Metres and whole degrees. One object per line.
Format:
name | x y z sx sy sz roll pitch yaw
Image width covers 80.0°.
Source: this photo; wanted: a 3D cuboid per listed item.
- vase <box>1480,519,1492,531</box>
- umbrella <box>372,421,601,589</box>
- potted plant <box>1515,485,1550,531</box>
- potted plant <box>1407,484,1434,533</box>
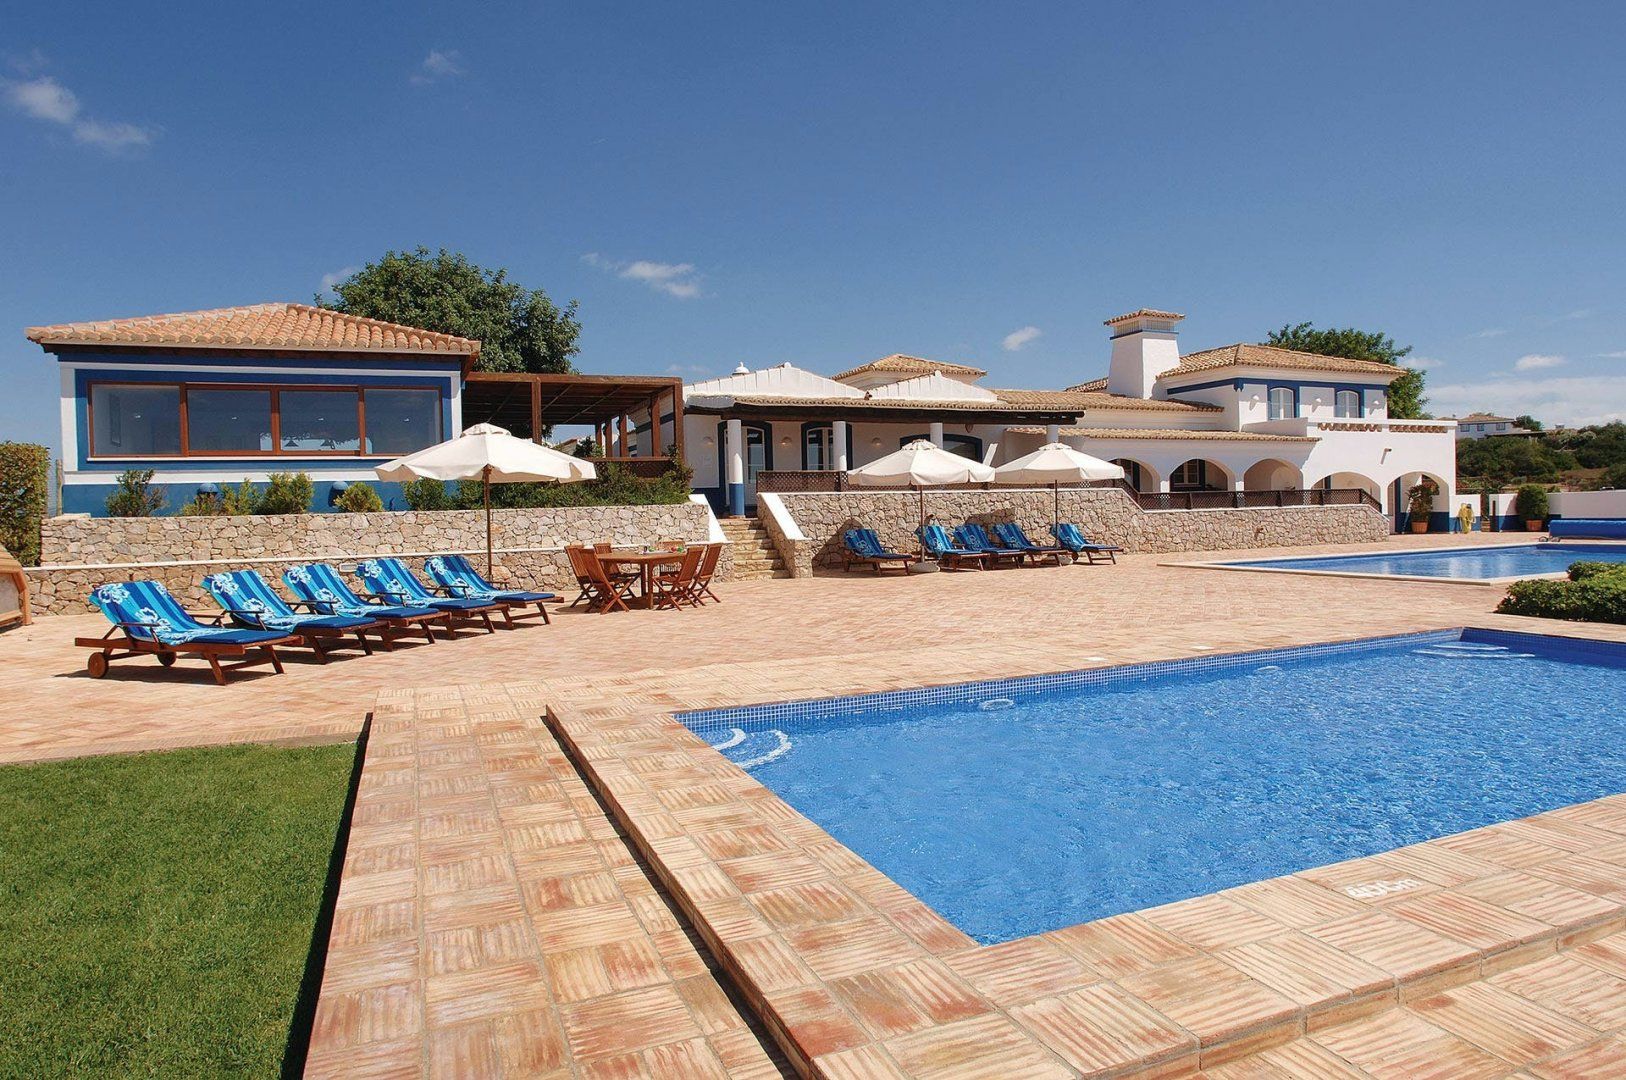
vase | 25.480 -0.633 36.775 0.527 0.482 0.278 -4 5 -22
umbrella | -4.917 -0.604 14.681 3.109 1.917 2.767 -1 -3 -19
potted plant | 26.087 -1.149 35.182 0.970 1.589 1.255 0 6 35
potted plant | 23.307 -1.274 37.390 1.074 1.879 0.681 -5 5 -20
